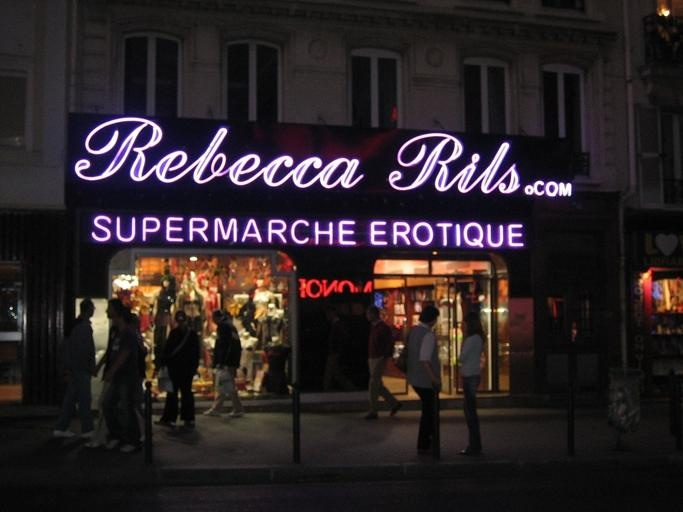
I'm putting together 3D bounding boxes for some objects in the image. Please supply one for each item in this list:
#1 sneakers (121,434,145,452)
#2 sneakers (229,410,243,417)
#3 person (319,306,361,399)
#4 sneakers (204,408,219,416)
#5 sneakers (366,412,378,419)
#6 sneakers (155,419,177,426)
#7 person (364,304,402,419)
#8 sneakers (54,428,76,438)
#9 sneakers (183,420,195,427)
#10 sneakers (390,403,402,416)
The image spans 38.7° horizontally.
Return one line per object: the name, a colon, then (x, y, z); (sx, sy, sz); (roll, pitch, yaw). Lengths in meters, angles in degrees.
sneakers: (-3.791, 3.468, 17.891); (0.184, 0.240, 0.561); (-6, -18, 27)
sneakers: (-2.282, 3.327, 20.741); (0.355, 0.192, 0.134); (0, -6, 17)
person: (-0.025, 2.068, 21.854); (0.780, 1.790, 0.541); (0, 10, 0)
sneakers: (-2.771, 3.325, 20.866); (0.388, 0.172, 0.132); (2, -4, 25)
sneakers: (0.663, 3.365, 20.644); (0.221, 0.100, 0.118); (0, -8, 10)
sneakers: (-3.528, 3.316, 19.461); (0.435, 0.180, 0.153); (5, -6, 23)
person: (0.880, 2.328, 20.932); (0.643, 2.466, 1.273); (1, 10, 2)
sneakers: (-5.354, 3.389, 18.738); (0.310, 0.117, 0.190); (5, -8, -22)
sneakers: (-3.027, 3.315, 19.347); (0.195, 0.139, 0.099); (-2, -4, 9)
sneakers: (1.191, 3.317, 21.024); (0.172, 0.148, 0.428); (14, -34, 0)
